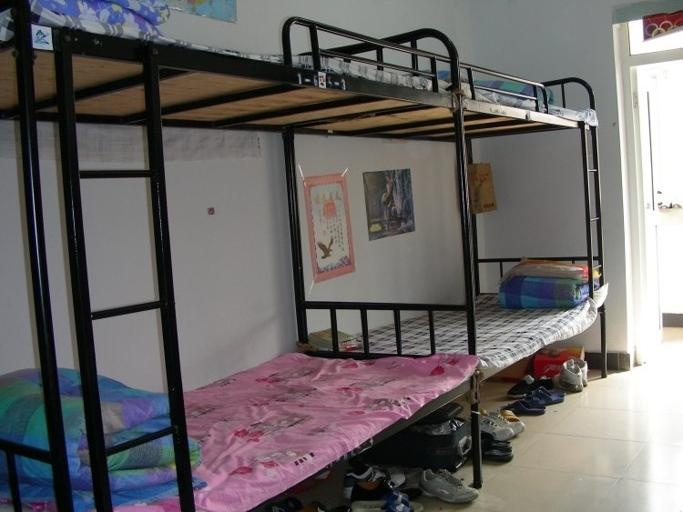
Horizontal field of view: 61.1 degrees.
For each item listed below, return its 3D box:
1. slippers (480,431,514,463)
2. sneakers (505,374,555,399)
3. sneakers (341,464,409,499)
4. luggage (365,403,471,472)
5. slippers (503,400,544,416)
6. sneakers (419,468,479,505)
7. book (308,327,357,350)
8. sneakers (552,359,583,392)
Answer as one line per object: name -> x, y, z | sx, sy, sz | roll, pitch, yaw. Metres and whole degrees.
slippers -> 0.999, 1.251, 3.743 | 0.173, 0.059, 0.128 | 0, 5, 37
sneakers -> 1.594, 1.107, 4.893 | 0.495, 0.152, 0.162 | -3, -4, -42
sneakers -> 0.206, 1.261, 3.220 | 0.401, 0.173, 0.135 | -11, -30, 9
luggage -> 0.495, 1.135, 3.631 | 0.438, 0.304, 0.463 | -4, 4, 32
slippers -> 1.428, 1.182, 4.496 | 0.267, 0.074, 0.120 | 4, 7, 45
sneakers -> 0.610, 1.306, 3.332 | 0.332, 0.145, 0.136 | 2, 1, 25
book -> -0.049, 0.595, 4.062 | 0.192, 0.049, 0.181 | 8, 8, 43
sneakers -> 1.957, 1.050, 5.066 | 0.168, 0.210, 0.494 | -3, -5, -6
